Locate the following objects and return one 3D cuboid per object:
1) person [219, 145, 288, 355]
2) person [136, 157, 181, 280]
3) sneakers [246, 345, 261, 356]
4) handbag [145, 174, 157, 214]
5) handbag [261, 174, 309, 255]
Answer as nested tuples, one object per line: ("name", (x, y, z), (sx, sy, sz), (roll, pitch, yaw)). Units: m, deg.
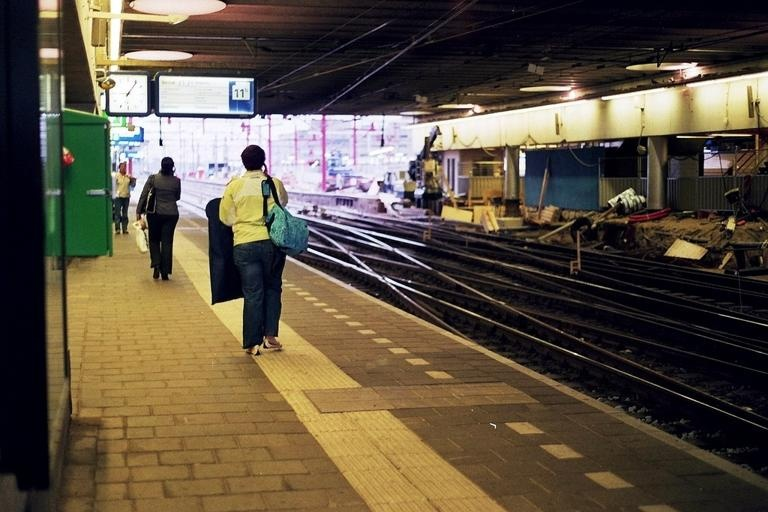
("person", (-1.622, -0.098, 7.213), (0.832, 2.411, 1.013), (1, 0, 39))
("person", (-4.458, -0.714, 11.816), (0.772, 2.433, 1.332), (0, 7, -21))
("sneakers", (-1.571, 1.129, 7.153), (0.091, 0.082, 0.238), (2, 5, -10))
("handbag", (-4.477, -1.119, 11.418), (0.193, 0.623, 0.135), (1, 6, -9))
("handbag", (-1.184, -0.475, 7.020), (0.545, 0.913, 0.449), (1, 6, -10))
